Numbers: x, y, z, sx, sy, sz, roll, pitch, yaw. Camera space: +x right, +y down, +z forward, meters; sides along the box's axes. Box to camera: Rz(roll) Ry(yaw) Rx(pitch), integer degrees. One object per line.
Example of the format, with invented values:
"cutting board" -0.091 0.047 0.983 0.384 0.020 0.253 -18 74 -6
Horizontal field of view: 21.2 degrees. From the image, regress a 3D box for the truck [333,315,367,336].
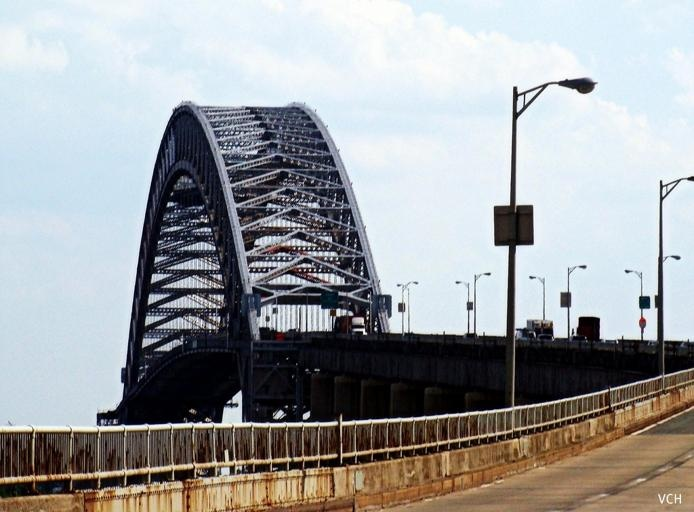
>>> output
"truck" 0.436 5.365 146.487 1.836 2.105 3.434 1 -16 -11
